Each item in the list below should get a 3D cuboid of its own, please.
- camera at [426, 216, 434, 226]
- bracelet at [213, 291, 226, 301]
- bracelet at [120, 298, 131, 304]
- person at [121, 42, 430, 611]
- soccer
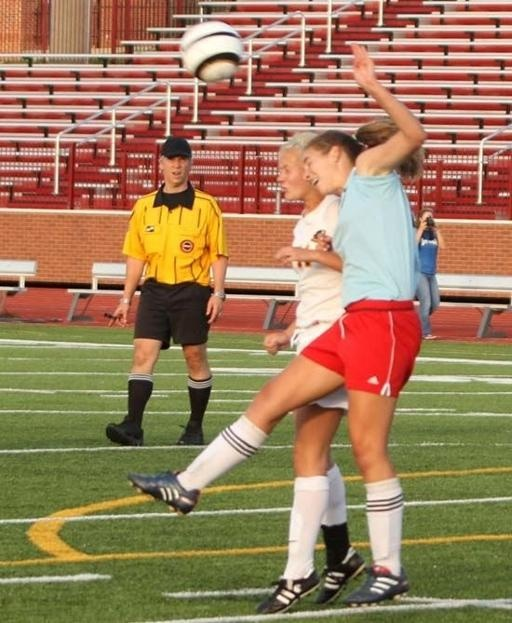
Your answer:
[{"bbox_3d":[2.310,-1.163,17.680,0.107,0.098,0.099,1,-7,7],"label":"camera"},{"bbox_3d":[-0.249,-0.086,9.503,0.065,0.078,0.045,-16,-6,-31],"label":"bracelet"},{"bbox_3d":[-0.933,-0.065,9.624,0.053,0.029,0.051,2,-4,7],"label":"bracelet"},{"bbox_3d":[0.063,0.079,6.179,1.655,2.461,1.044,-3,-10,17],"label":"person"},{"bbox_3d":[-0.263,-1.613,8.546,0.418,0.308,0.411,2,-23,-13],"label":"soccer"}]
